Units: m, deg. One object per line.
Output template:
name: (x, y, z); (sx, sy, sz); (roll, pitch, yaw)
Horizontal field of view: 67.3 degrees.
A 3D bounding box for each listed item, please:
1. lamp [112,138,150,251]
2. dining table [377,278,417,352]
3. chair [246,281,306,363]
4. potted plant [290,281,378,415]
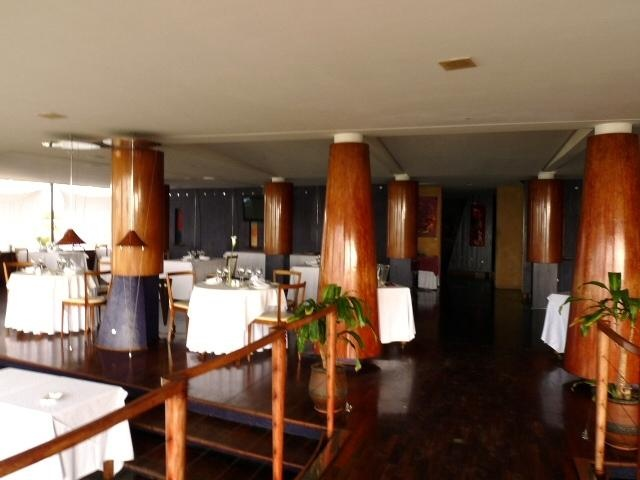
lamp: (-2.294, -0.511, 6.048); (0.605, 1.337, 0.371); (-1, 1, -26)
dining table: (0.998, 0.987, 6.570); (0.586, 0.683, 0.898); (-1, -1, 6)
chair: (-0.560, 0.973, 6.340); (0.842, 1.375, 0.761); (1, 1, 5)
potted plant: (0.042, 0.983, 4.757); (1.031, 1.391, 1.080); (0, -1, -12)
